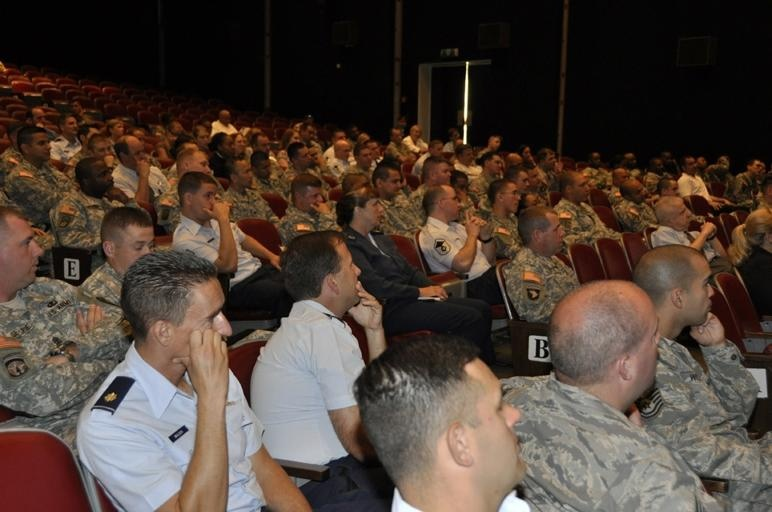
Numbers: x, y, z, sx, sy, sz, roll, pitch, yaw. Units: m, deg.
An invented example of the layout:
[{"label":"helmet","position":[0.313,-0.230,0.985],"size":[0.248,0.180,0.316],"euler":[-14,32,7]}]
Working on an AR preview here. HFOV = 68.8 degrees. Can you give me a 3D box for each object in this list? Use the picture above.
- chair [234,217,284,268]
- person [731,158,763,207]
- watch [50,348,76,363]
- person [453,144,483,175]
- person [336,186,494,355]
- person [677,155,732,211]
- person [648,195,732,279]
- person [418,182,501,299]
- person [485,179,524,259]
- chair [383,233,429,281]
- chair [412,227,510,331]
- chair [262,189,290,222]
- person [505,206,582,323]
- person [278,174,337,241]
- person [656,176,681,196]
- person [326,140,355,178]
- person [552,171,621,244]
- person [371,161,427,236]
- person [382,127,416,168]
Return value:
[{"label":"chair","position":[-1.120,-0.104,5.148],"size":[0.447,0.557,0.472],"euler":[0,-1,-41]},{"label":"person","position":[7.279,-1.471,11.336],"size":[0.506,0.977,0.969],"euler":[5,3,33]},{"label":"watch","position":[-1.424,0.447,2.499],"size":[0.097,0.039,0.053],"euler":[3,31,-13]},{"label":"person","position":[1.358,-1.659,9.892],"size":[0.501,0.582,0.859],"euler":[7,16,15]},{"label":"person","position":[0.262,0.270,4.445],"size":[1.076,1.687,0.766],"euler":[-9,5,15]},{"label":"person","position":[6.025,-1.375,10.737],"size":[0.906,1.009,0.665],"euler":[-3,3,45]},{"label":"person","position":[3.161,-0.196,5.878],"size":[0.795,0.799,0.597],"euler":[1,14,22]},{"label":"person","position":[0.846,-0.102,5.204],"size":[1.004,1.110,0.709],"euler":[-2,15,22]},{"label":"person","position":[1.213,-0.360,5.800],"size":[0.514,0.751,0.900],"euler":[0,14,11]},{"label":"chair","position":[0.198,0.015,4.929],"size":[0.374,0.499,0.357],"euler":[3,6,43]},{"label":"chair","position":[0.782,0.039,5.170],"size":[0.779,1.235,0.571],"euler":[11,-2,10]},{"label":"chair","position":[-1.266,-0.592,6.490],"size":[0.375,0.318,0.293],"euler":[4,8,31]},{"label":"person","position":[1.100,0.065,4.068],"size":[0.577,0.741,1.104],"euler":[0,12,19]},{"label":"person","position":[-0.778,-0.464,5.625],"size":[0.570,0.601,0.906],"euler":[-5,4,5]},{"label":"person","position":[3.810,-0.940,7.620],"size":[0.229,0.319,0.823],"euler":[4,2,24]},{"label":"person","position":[-0.768,-1.569,9.184],"size":[0.355,0.439,0.720],"euler":[-4,-6,-4]},{"label":"person","position":[2.489,-0.540,6.901],"size":[0.876,0.967,0.806],"euler":[-1,14,5]},{"label":"person","position":[0.143,-0.571,6.571],"size":[0.677,1.057,0.730],"euler":[-3,23,1]},{"label":"person","position":[0.215,-2.044,11.614],"size":[0.743,1.230,0.604],"euler":[2,32,0]}]
